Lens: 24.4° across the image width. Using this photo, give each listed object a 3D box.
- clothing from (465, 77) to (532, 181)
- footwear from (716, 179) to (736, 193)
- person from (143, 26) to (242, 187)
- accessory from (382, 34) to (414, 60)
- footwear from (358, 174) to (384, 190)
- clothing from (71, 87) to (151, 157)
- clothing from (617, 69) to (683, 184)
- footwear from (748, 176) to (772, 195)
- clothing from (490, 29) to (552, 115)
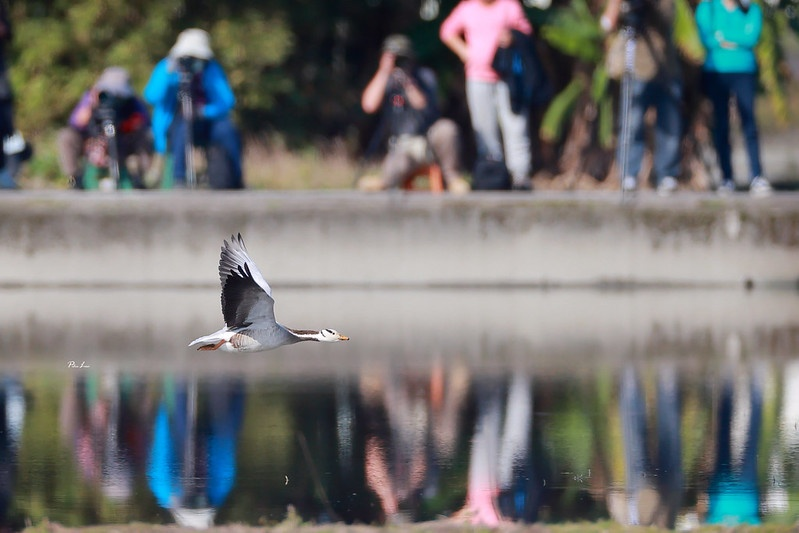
[{"bbox_3d":[1.295,-1.703,23.512,0.472,1.784,0.636,-13,12,17],"label":"clothing"},{"bbox_3d":[4.083,-0.972,23.203,0.151,0.144,0.185,-1,4,7],"label":"footwear"},{"bbox_3d":[-2.622,-1.919,23.586,1.142,2.040,0.673,-6,6,-6],"label":"person"},{"bbox_3d":[-0.003,-2.751,23.710,0.297,0.227,0.358,3,8,2],"label":"accessory"},{"bbox_3d":[-0.364,-0.997,23.315,0.309,0.168,0.314,-7,6,-17],"label":"footwear"},{"bbox_3d":[-3.820,-1.923,24.177,1.005,0.510,1.221,-1,-15,-26],"label":"clothing"},{"bbox_3d":[3.323,-1.719,23.897,0.598,1.326,1.208,-3,6,23],"label":"clothing"},{"bbox_3d":[4.493,-0.967,23.125,0.279,0.242,0.341,-4,6,10],"label":"footwear"},{"bbox_3d":[1.438,-2.403,23.789,0.280,1.189,0.678,-18,3,37],"label":"clothing"}]
